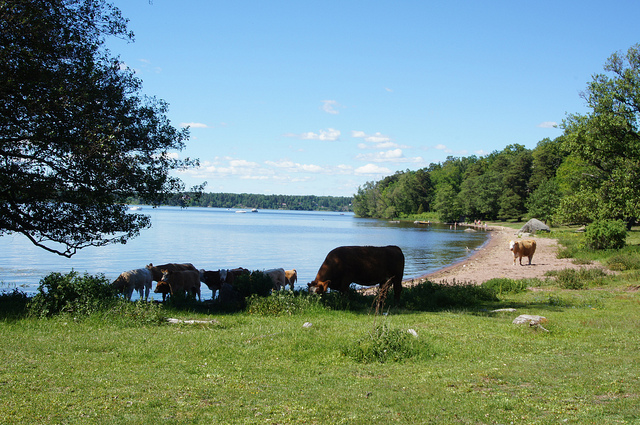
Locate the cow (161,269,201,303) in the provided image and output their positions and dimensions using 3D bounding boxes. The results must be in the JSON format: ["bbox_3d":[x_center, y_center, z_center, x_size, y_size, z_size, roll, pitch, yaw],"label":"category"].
[{"bbox_3d":[-7.759,4.099,34.734,0.828,1.832,3.356,-9,-11,24],"label":"cow"}]

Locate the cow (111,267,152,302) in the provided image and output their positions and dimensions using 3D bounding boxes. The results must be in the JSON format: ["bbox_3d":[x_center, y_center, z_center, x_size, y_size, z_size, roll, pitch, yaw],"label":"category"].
[{"bbox_3d":[-10.395,4.065,34.342,0.827,1.675,2.992,-4,-5,25],"label":"cow"}]

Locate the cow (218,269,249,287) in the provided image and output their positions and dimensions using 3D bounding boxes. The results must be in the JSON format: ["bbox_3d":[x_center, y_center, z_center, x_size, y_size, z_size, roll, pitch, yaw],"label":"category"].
[{"bbox_3d":[-5.253,3.671,36.288,1.016,0.951,1.838,4,12,17],"label":"cow"}]

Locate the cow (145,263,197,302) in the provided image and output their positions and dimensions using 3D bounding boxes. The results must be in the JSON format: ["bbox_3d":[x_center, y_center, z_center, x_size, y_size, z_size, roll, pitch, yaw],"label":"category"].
[{"bbox_3d":[-8.944,3.886,37.265,3.072,1.622,0.810,-2,1,-6],"label":"cow"}]

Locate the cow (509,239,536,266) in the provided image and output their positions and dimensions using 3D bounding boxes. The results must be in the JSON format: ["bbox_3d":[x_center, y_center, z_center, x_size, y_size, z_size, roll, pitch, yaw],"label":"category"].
[{"bbox_3d":[16.387,3.168,50.314,2.880,1.975,1.294,2,2,-30],"label":"cow"}]

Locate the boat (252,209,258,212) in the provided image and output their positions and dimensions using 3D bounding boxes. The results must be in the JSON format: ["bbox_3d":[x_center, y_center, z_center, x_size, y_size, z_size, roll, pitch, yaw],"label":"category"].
[{"bbox_3d":[-34.793,-1.417,329.008,1.923,0.997,2.769,3,1,34],"label":"boat"}]

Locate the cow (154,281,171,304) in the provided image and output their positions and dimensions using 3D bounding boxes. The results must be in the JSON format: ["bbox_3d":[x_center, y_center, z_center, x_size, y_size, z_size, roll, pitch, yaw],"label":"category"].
[{"bbox_3d":[-8.929,4.450,35.148,0.908,1.384,2.016,-2,-13,2],"label":"cow"}]
